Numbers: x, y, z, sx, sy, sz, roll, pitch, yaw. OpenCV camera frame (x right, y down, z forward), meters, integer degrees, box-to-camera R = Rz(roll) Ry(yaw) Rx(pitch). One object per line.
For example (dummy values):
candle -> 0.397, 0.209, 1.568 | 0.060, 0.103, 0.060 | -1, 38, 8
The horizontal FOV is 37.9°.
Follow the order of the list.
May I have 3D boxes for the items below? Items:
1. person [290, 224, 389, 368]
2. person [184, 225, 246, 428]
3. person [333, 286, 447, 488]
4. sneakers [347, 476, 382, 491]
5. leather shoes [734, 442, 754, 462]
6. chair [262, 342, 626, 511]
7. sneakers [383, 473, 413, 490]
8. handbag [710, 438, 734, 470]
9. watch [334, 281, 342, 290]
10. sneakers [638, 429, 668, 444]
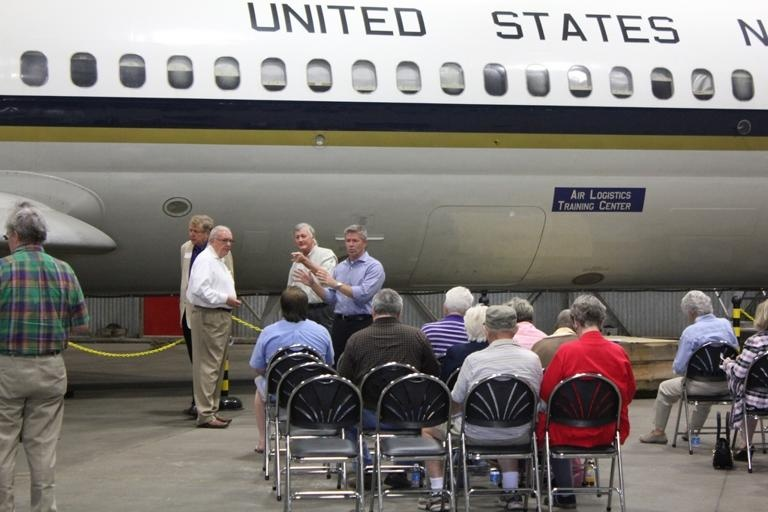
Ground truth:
person -> -0.621, 0.805, 14.278 | 1.290, 2.307, 1.061 | 1, -3, -11
person -> -2.246, 0.963, 14.534 | 0.637, 2.638, 0.599 | 1, 1, -10
person -> 0.069, 1.489, 12.676 | 1.159, 2.154, 0.819 | -2, 14, -2
sneakers -> -0.237, 2.564, 12.507 | 0.347, 0.116, 0.243 | 1, -2, -24
leather shoes -> 4.311, 2.414, 13.421 | 0.131, 0.130, 0.367 | -1, -1, -4
chair -> 0.130, 1.946, 12.008 | 2.657, 1.216, 1.173 | 1, 1, -3
sneakers -> 0.154, 2.572, 12.636 | 0.353, 0.240, 0.121 | 0, -1, 0
handbag -> 4.008, 2.376, 13.211 | 0.256, 0.330, 0.345 | -2, -34, 9
watch -> -0.587, 0.385, 14.047 | 0.085, 0.076, 0.056 | 8, 7, -39
sneakers -> 3.448, 2.340, 14.259 | 0.325, 0.143, 0.184 | 2, -2, 8
